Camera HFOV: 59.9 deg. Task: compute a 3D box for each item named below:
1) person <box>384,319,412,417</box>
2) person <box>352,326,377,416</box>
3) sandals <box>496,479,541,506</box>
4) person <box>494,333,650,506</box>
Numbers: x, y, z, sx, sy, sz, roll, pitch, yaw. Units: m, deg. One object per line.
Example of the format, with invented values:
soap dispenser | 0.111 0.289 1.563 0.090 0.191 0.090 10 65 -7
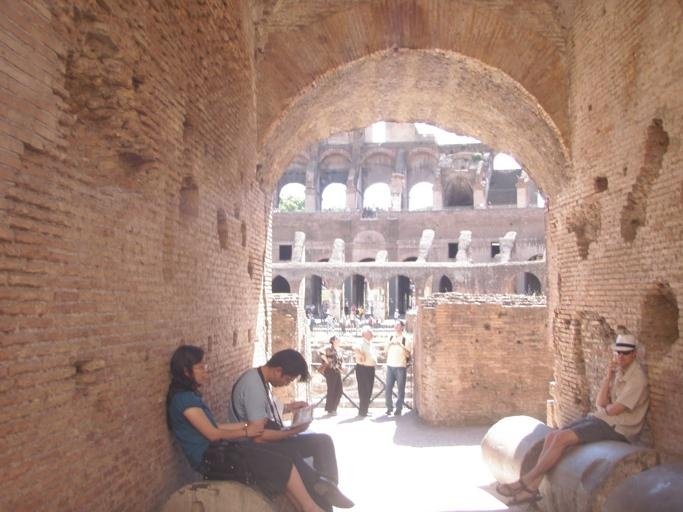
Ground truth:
person | 0.985 1.962 10.281 0.412 1.610 1.026 3 0 7
person | 0.384 1.923 9.997 0.352 1.482 0.621 3 0 3
sandals | 1.731 2.344 5.857 0.539 0.234 0.151 9 -18 -19
person | 2.422 1.655 5.927 1.302 1.629 0.649 3 0 -25
